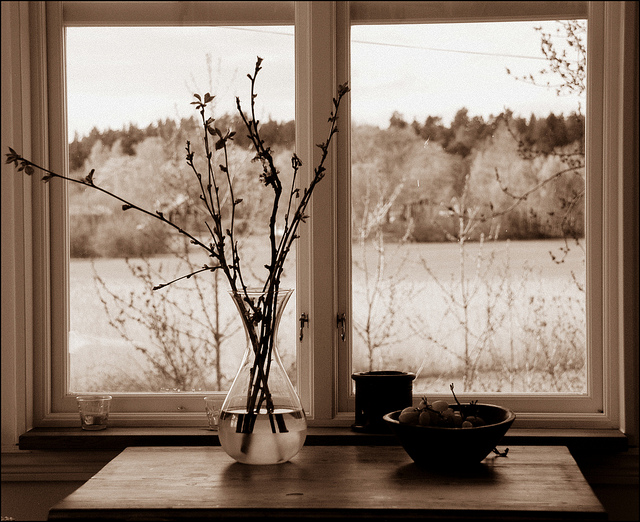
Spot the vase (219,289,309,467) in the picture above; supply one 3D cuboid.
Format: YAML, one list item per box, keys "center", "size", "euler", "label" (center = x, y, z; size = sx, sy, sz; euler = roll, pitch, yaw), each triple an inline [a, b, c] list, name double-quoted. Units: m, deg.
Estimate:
- center: [-0.181, 0.350, 3.056]
  size: [0.280, 0.544, 0.226]
  euler: [-2, 13, -3]
  label: "vase"

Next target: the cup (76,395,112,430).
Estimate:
- center: [-0.749, 0.504, 3.326]
  size: [0.095, 0.103, 0.111]
  euler: [0, -8, 1]
  label: "cup"

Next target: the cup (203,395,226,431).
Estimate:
- center: [-0.362, 0.510, 3.341]
  size: [0.095, 0.127, 0.087]
  euler: [0, -6, 0]
  label: "cup"

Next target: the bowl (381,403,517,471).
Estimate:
- center: [0.386, 0.545, 3.065]
  size: [0.391, 0.189, 0.295]
  euler: [-2, 14, -2]
  label: "bowl"

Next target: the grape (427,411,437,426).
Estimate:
- center: [0.336, 0.475, 2.992]
  size: [0.011, 0.028, 0.038]
  euler: [-3, 34, 19]
  label: "grape"
